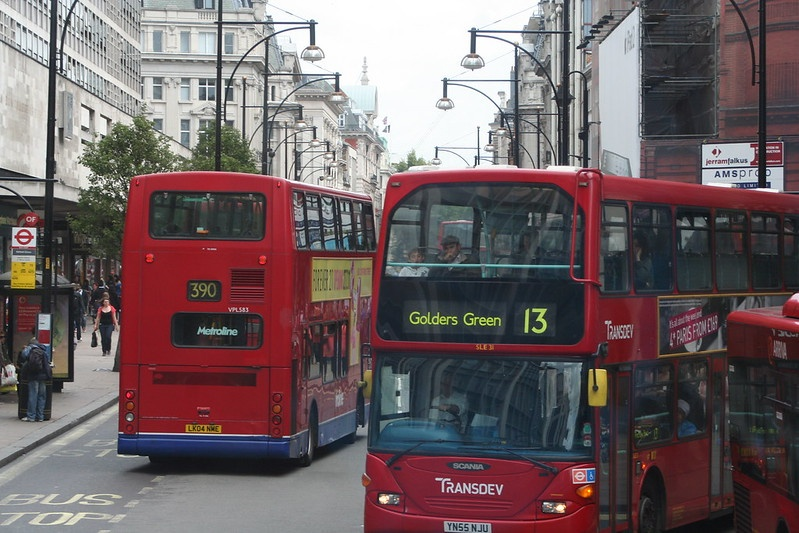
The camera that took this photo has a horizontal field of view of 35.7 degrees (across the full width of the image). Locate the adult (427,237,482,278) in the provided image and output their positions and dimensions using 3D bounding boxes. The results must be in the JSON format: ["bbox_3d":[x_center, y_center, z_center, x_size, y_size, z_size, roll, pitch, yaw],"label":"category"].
[{"bbox_3d":[0.770,-0.114,17.668,0.775,0.661,0.454,-1,-7,16],"label":"adult"}]

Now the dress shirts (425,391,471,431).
[{"bbox_3d":[0.686,2.004,17.340,0.549,0.612,0.431,10,0,10],"label":"dress shirts"}]

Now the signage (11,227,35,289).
[{"bbox_3d":[-8.782,-0.215,28.851,0.581,1.500,0.422,-4,1,-18],"label":"signage"}]

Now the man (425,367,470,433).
[{"bbox_3d":[0.723,1.883,17.194,0.469,0.860,0.310,1,8,12],"label":"man"}]

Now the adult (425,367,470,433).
[{"bbox_3d":[0.705,1.881,17.197,0.469,0.860,0.310,1,8,12],"label":"adult"}]

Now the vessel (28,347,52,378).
[{"bbox_3d":[-7.897,2.113,27.072,0.378,0.793,0.519,-2,8,31],"label":"vessel"}]

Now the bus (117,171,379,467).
[{"bbox_3d":[-2.665,1.026,23.806,2.749,5.366,5.313,-3,1,40],"label":"bus"}]

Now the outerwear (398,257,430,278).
[{"bbox_3d":[0.213,-0.056,17.762,0.419,0.318,0.250,0,-18,7],"label":"outerwear"}]

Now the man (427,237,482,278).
[{"bbox_3d":[0.771,-0.113,17.679,0.787,0.652,0.453,-2,-8,18],"label":"man"}]
